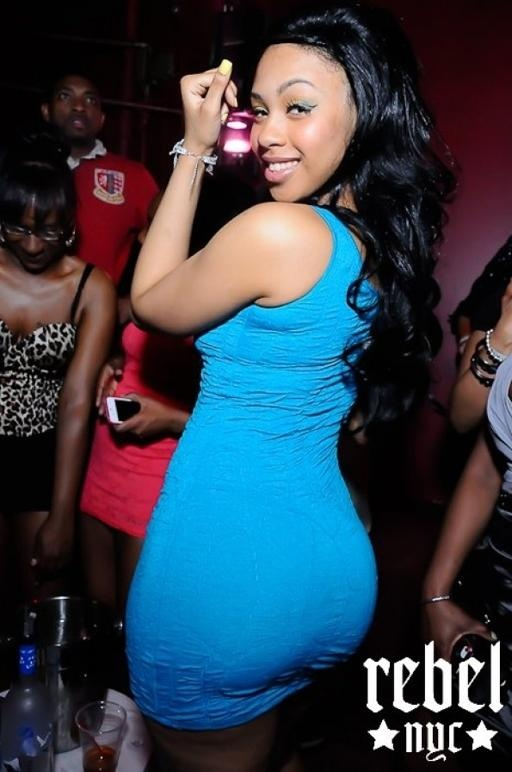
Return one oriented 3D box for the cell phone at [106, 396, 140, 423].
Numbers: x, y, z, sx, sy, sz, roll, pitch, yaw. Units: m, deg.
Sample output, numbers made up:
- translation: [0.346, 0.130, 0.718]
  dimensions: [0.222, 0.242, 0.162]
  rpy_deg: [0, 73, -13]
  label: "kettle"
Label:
- translation: [-0.305, 0.056, 1.469]
  dimensions: [0.007, 0.036, 0.063]
  rpy_deg: [-14, -5, 39]
  label: "cell phone"
